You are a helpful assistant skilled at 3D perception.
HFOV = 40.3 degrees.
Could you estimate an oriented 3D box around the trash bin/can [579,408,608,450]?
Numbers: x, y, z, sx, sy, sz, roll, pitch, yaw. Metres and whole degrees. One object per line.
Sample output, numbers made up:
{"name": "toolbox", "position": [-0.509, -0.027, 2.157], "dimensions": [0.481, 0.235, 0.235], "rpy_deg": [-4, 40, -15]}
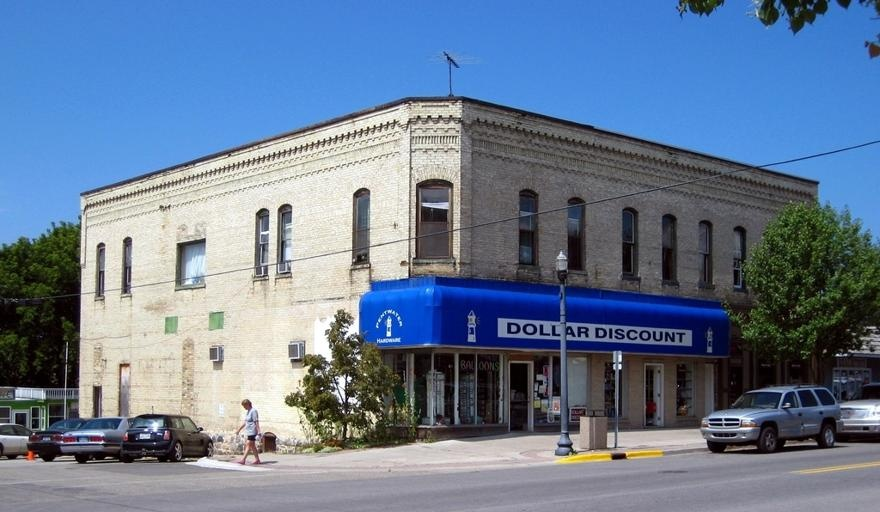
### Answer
{"name": "trash bin/can", "position": [6.710, 8.047, 54.367], "dimensions": [1.504, 1.986, 1.566], "rpy_deg": [-4, -6, 44]}

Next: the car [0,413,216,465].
{"name": "car", "position": [-14.593, 8.557, 55.591], "dimensions": [7.636, 2.220, 2.179], "rpy_deg": [-1, -16, 2]}

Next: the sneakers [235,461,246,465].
{"name": "sneakers", "position": [-8.769, 9.172, 52.793], "dimensions": [0.588, 0.228, 0.182], "rpy_deg": [3, -8, 38]}

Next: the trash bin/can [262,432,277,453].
{"name": "trash bin/can", "position": [-8.611, 9.442, 60.549], "dimensions": [1.146, 0.948, 0.422], "rpy_deg": [-13, -20, 36]}

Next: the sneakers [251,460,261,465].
{"name": "sneakers", "position": [-8.069, 9.101, 52.500], "dimensions": [0.357, 0.124, 0.189], "rpy_deg": [1, -4, 15]}
